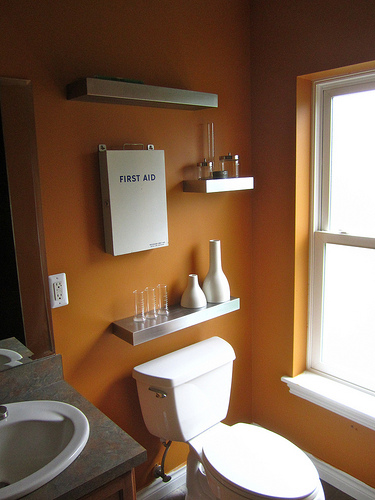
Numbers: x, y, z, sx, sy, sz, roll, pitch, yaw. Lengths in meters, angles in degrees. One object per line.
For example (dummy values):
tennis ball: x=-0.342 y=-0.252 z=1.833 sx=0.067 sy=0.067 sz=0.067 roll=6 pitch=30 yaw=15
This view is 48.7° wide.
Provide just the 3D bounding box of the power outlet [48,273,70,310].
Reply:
power outlet: x=-0.429 y=0.138 z=1.380 sx=0.055 sy=0.010 sz=0.121 roll=-4 pitch=60 yaw=-25

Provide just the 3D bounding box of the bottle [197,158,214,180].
bottle: x=0.073 y=-0.334 z=1.709 sx=0.056 sy=0.096 sz=0.069 roll=0 pitch=7 yaw=-4

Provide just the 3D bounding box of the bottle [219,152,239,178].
bottle: x=0.186 y=-0.357 z=1.774 sx=0.072 sy=0.146 sz=0.081 roll=-4 pitch=7 yaw=-32
